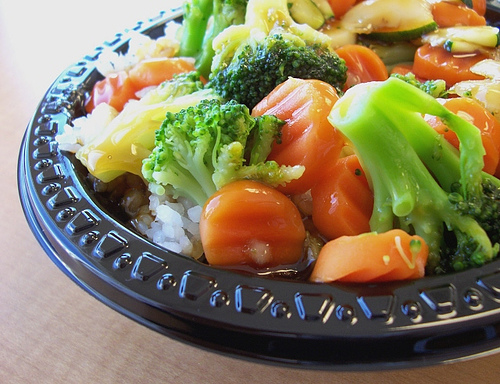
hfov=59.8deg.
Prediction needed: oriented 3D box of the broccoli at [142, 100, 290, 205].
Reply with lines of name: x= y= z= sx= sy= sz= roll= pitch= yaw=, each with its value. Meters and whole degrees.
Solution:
broccoli: x=-0.084 y=-0.131 z=1.284 sx=0.332 sy=0.324 sz=0.358 roll=-11 pitch=14 yaw=-26
